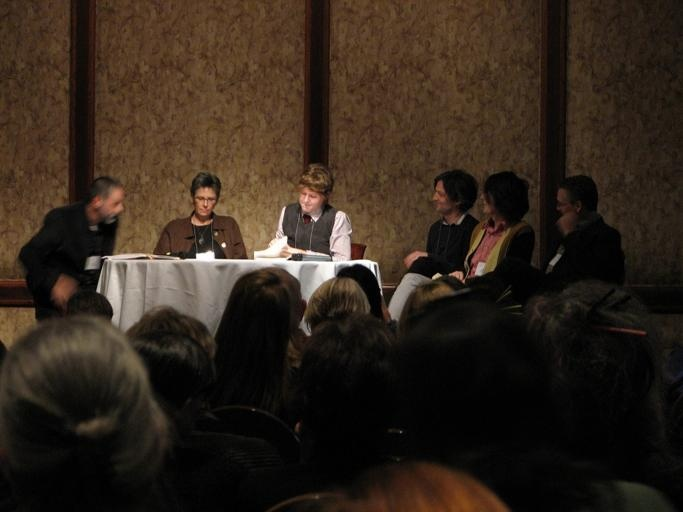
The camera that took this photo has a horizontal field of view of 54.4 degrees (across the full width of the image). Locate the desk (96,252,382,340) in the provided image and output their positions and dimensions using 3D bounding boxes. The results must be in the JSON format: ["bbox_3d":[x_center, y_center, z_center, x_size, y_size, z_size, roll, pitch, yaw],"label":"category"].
[{"bbox_3d":[-0.684,0.196,3.360,1.149,0.414,0.271,5,4,11],"label":"desk"}]

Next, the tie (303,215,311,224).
[{"bbox_3d":[-0.232,-0.248,4.443,0.042,0.065,0.016,-5,-11,12],"label":"tie"}]
